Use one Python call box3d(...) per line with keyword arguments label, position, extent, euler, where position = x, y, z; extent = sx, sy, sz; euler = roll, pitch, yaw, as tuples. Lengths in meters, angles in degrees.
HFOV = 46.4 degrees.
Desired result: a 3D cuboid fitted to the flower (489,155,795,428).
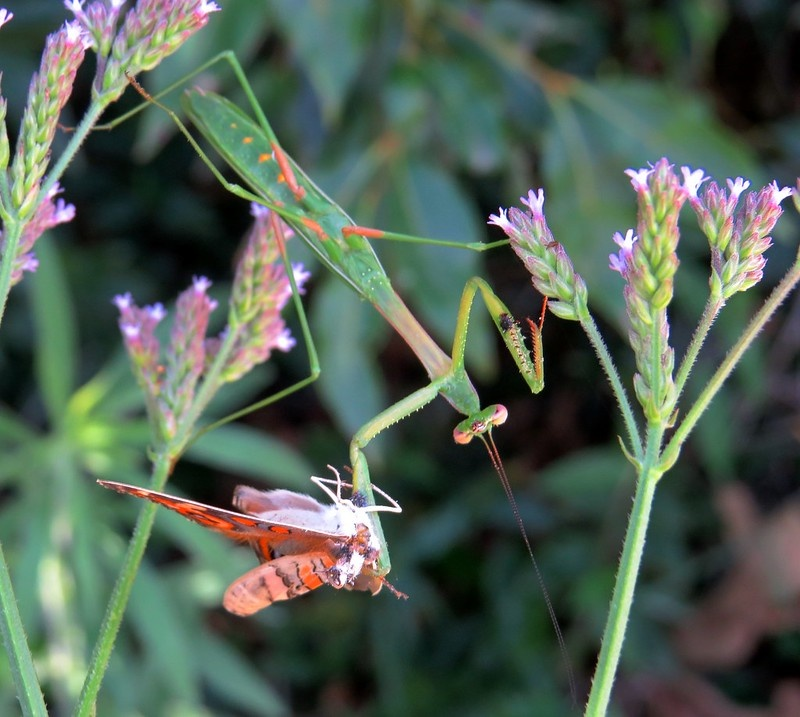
box3d(label="flower", position=(0.460, -0.139, 1.715), extent=(0.551, 0.399, 0.346), euler=(-2, -43, -17))
